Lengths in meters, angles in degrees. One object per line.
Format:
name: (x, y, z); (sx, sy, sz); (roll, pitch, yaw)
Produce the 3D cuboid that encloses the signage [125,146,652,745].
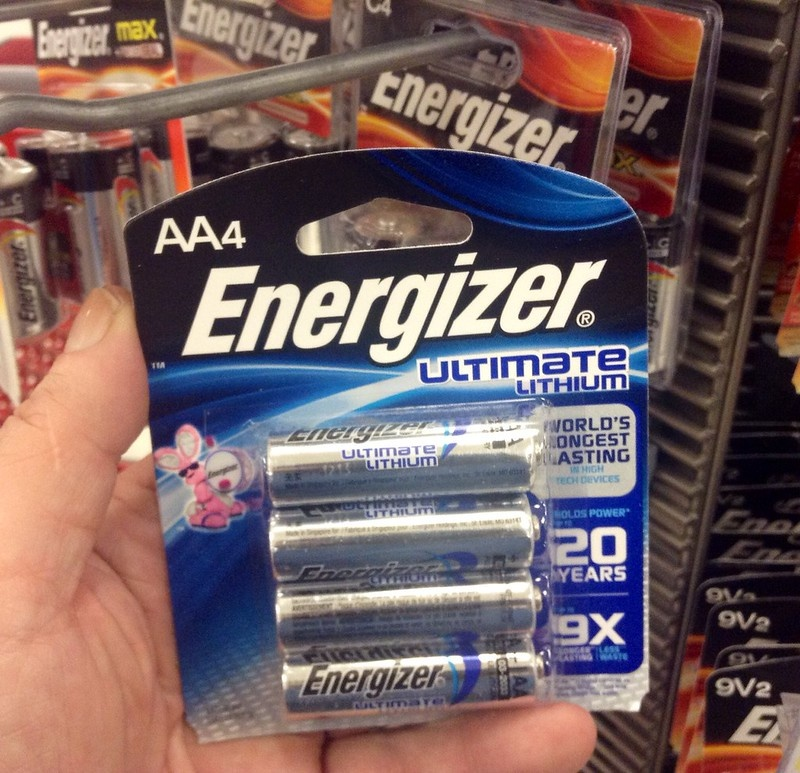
signage: (-0.007, 0.099, 1.482); (1.174, 1.249, 0.018); (-2, 6, -1)
